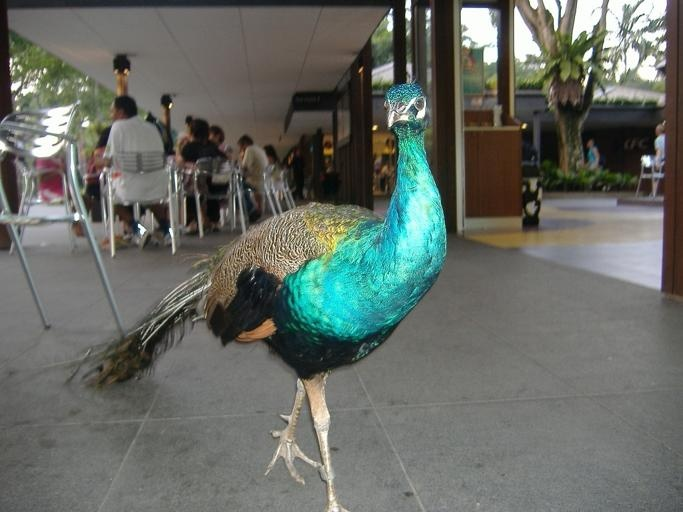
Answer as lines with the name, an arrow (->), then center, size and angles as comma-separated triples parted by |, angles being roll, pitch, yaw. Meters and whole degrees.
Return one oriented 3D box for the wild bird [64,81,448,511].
wild bird -> -0.264, 0.113, 1.885 | 1.342, 1.338, 0.383 | 10, 15, 44
